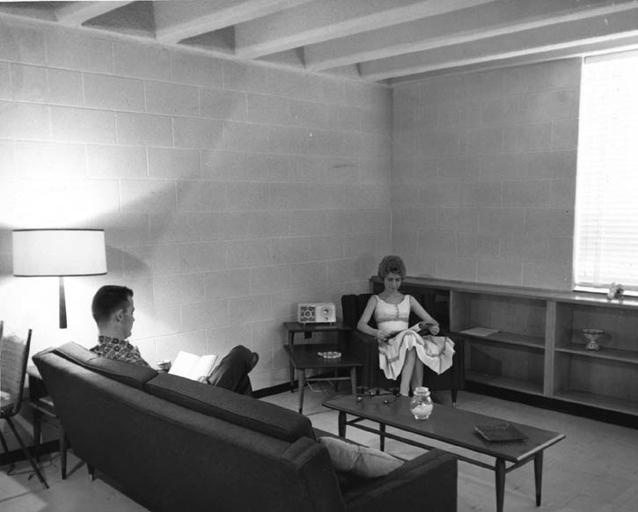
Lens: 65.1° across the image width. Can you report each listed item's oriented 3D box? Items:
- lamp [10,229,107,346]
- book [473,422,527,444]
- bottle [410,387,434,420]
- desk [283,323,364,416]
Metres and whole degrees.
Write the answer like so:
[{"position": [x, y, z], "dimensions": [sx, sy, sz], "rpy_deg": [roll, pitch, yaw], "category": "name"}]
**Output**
[{"position": [-1.993, 0.203, 3.894], "dimensions": [0.890, 0.797, 0.904], "rpy_deg": [0, 3, 7], "category": "lamp"}, {"position": [1.118, 1.098, 3.135], "dimensions": [0.286, 0.042, 0.289], "rpy_deg": [-1, 4, -9], "category": "book"}, {"position": [0.687, 1.011, 3.437], "dimensions": [0.187, 0.227, 0.187], "rpy_deg": [1, -4, 1], "category": "bottle"}, {"position": [0.139, 1.163, 5.022], "dimensions": [0.837, 0.555, 0.518], "rpy_deg": [0, -3, -16], "category": "desk"}]
